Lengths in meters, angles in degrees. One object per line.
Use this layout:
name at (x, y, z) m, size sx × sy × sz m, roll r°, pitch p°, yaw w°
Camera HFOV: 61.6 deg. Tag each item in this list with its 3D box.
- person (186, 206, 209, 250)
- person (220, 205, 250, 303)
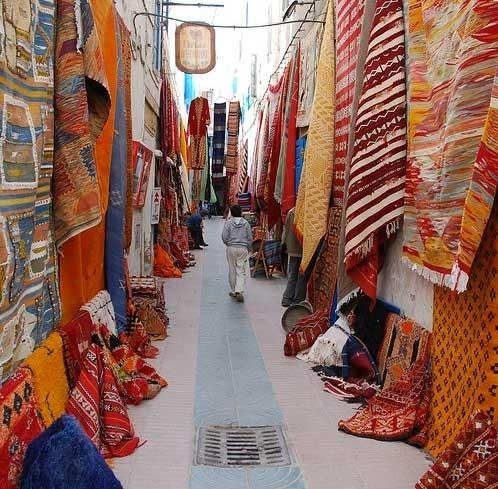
person at (-1.468, -0.503, 12.555) m, size 0.565 × 1.195 × 0.536 m, roll -3°, pitch 25°, yaw -29°
person at (-0.180, 0.116, 6.589) m, size 0.474 × 1.441 × 0.732 m, roll 0°, pitch 3°, yaw -3°
